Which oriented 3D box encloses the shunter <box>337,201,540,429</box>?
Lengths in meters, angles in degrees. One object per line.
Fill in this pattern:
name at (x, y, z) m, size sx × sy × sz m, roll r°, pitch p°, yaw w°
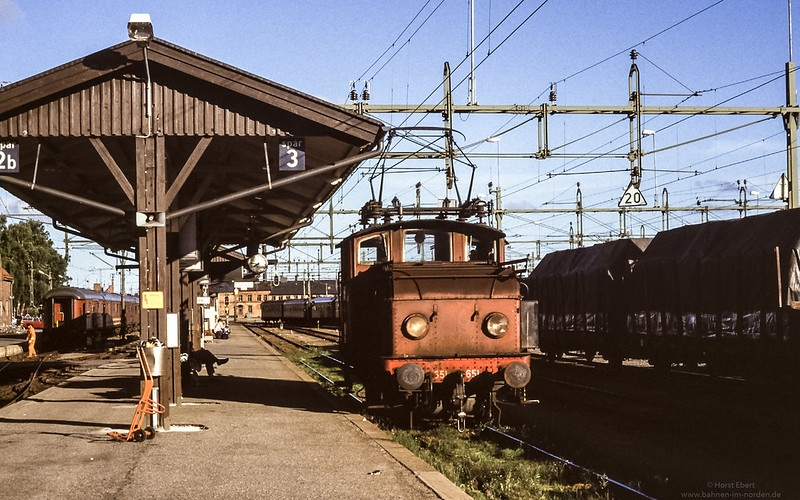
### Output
shunter at (0.632, 1.723, 24.292) m, size 4.418 × 5.968 × 11.341 m, roll 2°, pitch -3°, yaw -12°
